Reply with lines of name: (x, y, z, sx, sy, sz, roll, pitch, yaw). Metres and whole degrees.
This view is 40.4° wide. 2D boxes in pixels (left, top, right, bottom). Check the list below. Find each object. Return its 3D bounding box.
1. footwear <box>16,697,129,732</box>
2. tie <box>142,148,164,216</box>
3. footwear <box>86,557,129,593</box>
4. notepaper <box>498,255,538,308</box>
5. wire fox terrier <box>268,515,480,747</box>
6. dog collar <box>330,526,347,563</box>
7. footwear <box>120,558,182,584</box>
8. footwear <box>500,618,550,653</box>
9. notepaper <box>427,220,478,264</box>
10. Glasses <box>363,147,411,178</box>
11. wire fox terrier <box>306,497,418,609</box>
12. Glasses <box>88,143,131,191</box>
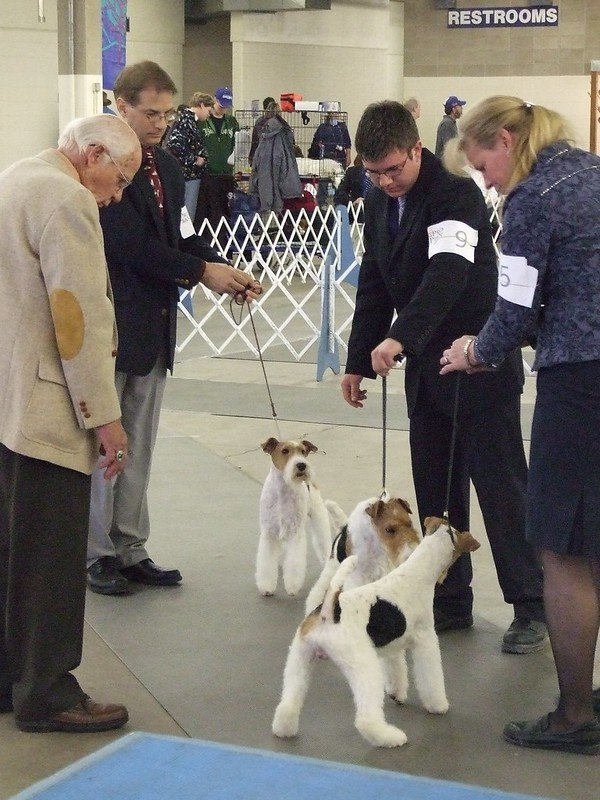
footwear: (-0.585, 0.816, 2.126, 0.273, 0.098, 0.093, -3, 0, -11)
tie: (-0.544, -0.835, 3.049, 0.061, 0.182, 0.147, -7, 0, 10)
footwear: (-0.749, 0.689, 3.177, 0.092, 0.086, 0.211, 1, -1, -38)
notepaper: (0.469, -0.277, 1.852, 0.106, 0.090, 0.095, 2, 9, 27)
wire fox terrier: (0.253, 0.591, 2.123, 0.672, 0.464, 0.274, -2, 1, -45)
dog collar: (0.127, 0.443, 2.513, 0.049, 0.098, 0.082, 11, -7, -1)
footwear: (-0.599, 0.684, 3.304, 0.267, 0.099, 0.095, 0, 0, 16)
footwear: (0.729, 0.767, 2.631, 0.080, 0.076, 0.172, -9, -11, 29)
notepaper: (0.465, -0.484, 2.506, 0.137, 0.097, 0.129, -10, 14, -32)
Glasses: (0.258, -0.725, 2.467, 0.139, 0.044, 0.092, 0, 0, 28)
wire fox terrier: (0.211, 0.448, 2.542, 0.232, 0.374, 0.651, -3, -4, -18)
Glasses: (-0.485, -0.580, 2.074, 0.110, 0.157, 0.115, -4, 34, -13)
